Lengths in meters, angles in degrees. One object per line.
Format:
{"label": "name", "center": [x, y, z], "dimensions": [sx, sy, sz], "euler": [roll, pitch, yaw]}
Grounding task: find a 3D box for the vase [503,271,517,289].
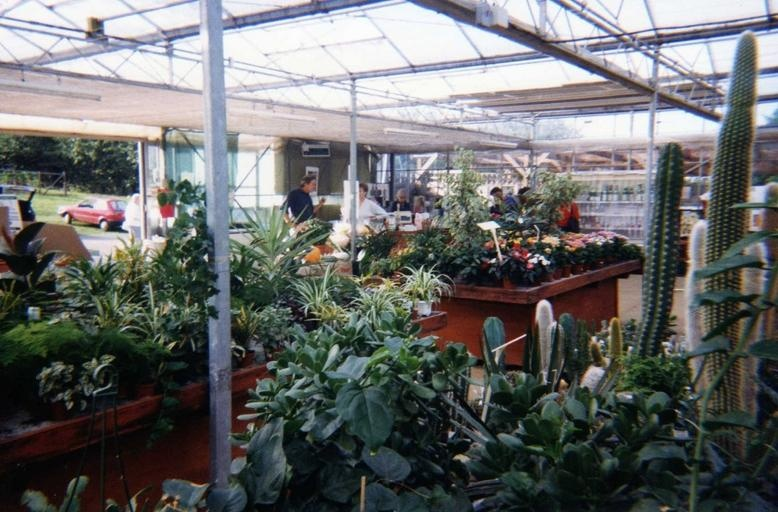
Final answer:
{"label": "vase", "center": [1.141, 0.234, 5.199], "dimensions": [0.137, 0.131, 0.139], "euler": [3, 9, 31]}
